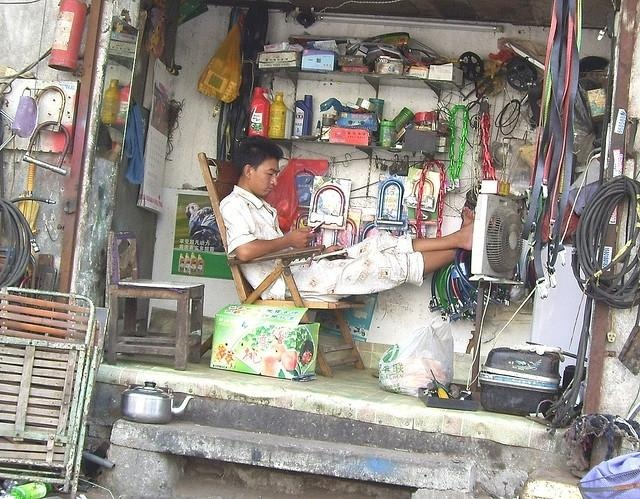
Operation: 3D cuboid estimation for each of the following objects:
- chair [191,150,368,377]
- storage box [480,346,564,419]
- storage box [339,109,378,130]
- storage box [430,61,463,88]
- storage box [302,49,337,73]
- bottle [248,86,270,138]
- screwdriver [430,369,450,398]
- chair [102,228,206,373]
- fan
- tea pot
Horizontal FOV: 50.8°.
[{"bbox_3d":[-0.407,0.226,6.959,1.851,2.816,1.587,-3,-4,15],"label":"chair"},{"bbox_3d":[1.413,0.849,4.826,0.490,0.428,0.457,0,1,17],"label":"storage box"},{"bbox_3d":[0.362,-1.301,6.721,0.305,0.082,0.183,10,6,38],"label":"storage box"},{"bbox_3d":[1.220,-1.708,6.615,0.209,0.147,0.226,3,-2,4],"label":"storage box"},{"bbox_3d":[-0.015,-1.895,6.873,0.351,0.233,0.241,7,-7,9],"label":"storage box"},{"bbox_3d":[-0.633,-1.431,6.984,0.214,0.506,0.398,2,9,-7],"label":"bottle"},{"bbox_3d":[0.855,1.009,4.938,0.059,0.030,0.209,1,33,-26],"label":"screwdriver"},{"bbox_3d":[-1.340,0.392,5.567,0.753,1.058,0.745,3,-1,-14],"label":"chair"},{"bbox_3d":[1.424,-0.090,5.482,0.262,0.897,0.811,5,3,36],"label":"fan"},{"bbox_3d":[-1.159,1.034,4.647,0.344,0.219,0.286,3,-5,-3],"label":"tea pot"}]
